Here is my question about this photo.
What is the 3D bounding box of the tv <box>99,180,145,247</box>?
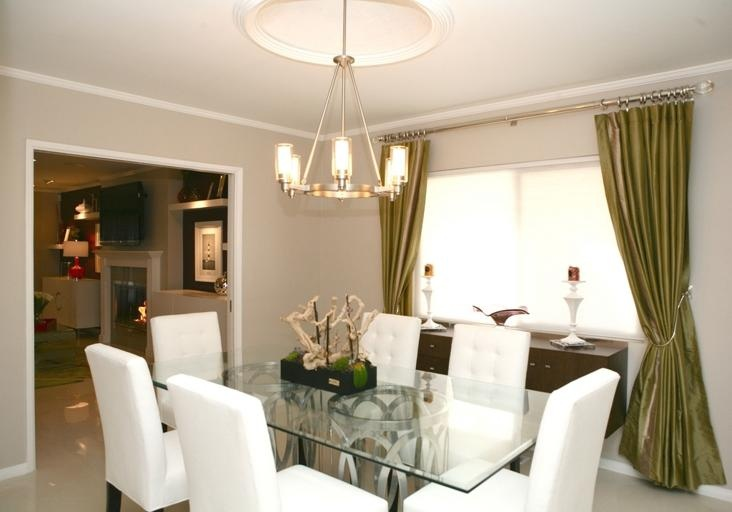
[{"bbox_3d":[-3.785,-0.651,8.286,1.046,0.917,0.114,0,0,42],"label":"tv"}]

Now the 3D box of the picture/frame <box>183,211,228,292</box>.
[{"bbox_3d":[-2.248,-0.074,7.559,0.067,0.978,0.807,-3,4,-44],"label":"picture/frame"}]

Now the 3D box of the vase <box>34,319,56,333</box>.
[{"bbox_3d":[-4.952,1.084,8.193,0.229,0.093,0.231,-1,-4,40],"label":"vase"}]

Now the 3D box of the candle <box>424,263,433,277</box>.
[{"bbox_3d":[0.656,0.147,5.494,0.098,0.133,0.160,-1,0,6],"label":"candle"}]

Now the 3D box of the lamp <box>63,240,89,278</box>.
[{"bbox_3d":[-5.508,0.078,10.099,0.464,0.724,0.472,-1,0,30],"label":"lamp"}]
